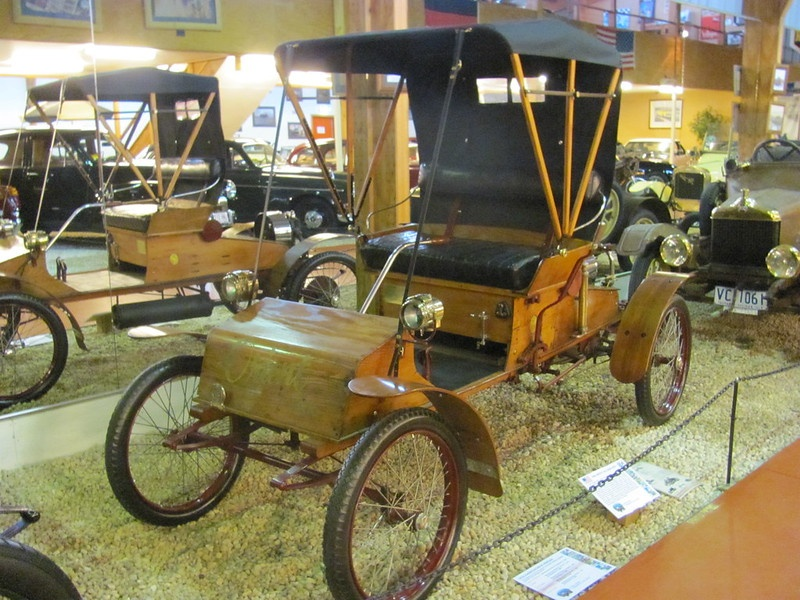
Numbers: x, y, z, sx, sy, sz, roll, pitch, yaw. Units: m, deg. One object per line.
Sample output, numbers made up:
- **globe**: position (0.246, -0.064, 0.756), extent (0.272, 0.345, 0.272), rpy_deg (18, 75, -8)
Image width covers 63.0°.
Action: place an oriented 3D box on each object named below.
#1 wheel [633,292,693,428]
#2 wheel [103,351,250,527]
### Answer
- **wheel**: position (1.654, 0.385, 4.132), extent (0.126, 0.632, 0.604), rpy_deg (19, 53, 36)
- **wheel**: position (-1.193, 0.651, 3.493), extent (0.597, 0.913, 1.005), rpy_deg (-3, 19, -17)
